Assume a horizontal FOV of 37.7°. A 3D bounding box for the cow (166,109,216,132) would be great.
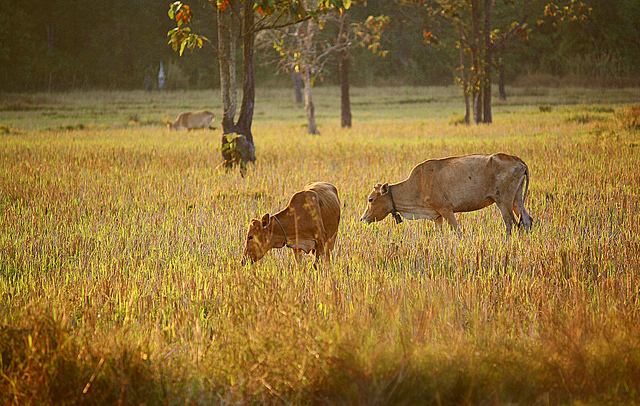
[{"bbox_3d":[-6.927,-4.077,48.419,1.841,0.907,3.988,3,17,13],"label":"cow"}]
